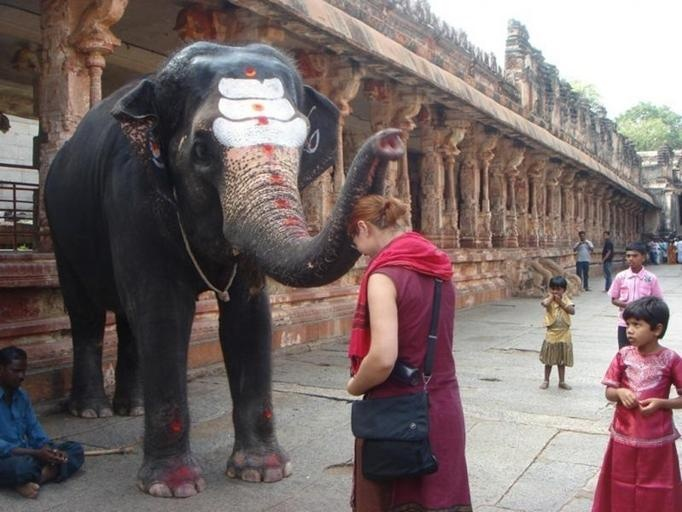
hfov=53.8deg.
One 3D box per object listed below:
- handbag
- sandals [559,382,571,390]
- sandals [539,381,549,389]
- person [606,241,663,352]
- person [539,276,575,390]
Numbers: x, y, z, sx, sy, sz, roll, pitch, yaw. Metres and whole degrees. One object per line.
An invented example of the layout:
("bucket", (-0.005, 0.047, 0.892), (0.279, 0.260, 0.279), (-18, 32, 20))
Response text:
("handbag", (0.251, 0.824, 3.072), (0.337, 0.335, 0.138), (-11, -20, 13))
("sandals", (2.110, 1.224, 6.322), (0.057, 0.048, 0.117), (1, -4, -33))
("sandals", (1.917, 1.221, 6.349), (0.053, 0.066, 0.162), (0, -6, 20))
("person", (2.544, 0.511, 5.849), (0.490, 1.213, 0.364), (1, 1, 31))
("person", (2.073, 0.722, 6.447), (0.301, 1.040, 0.485), (2, 5, 19))
